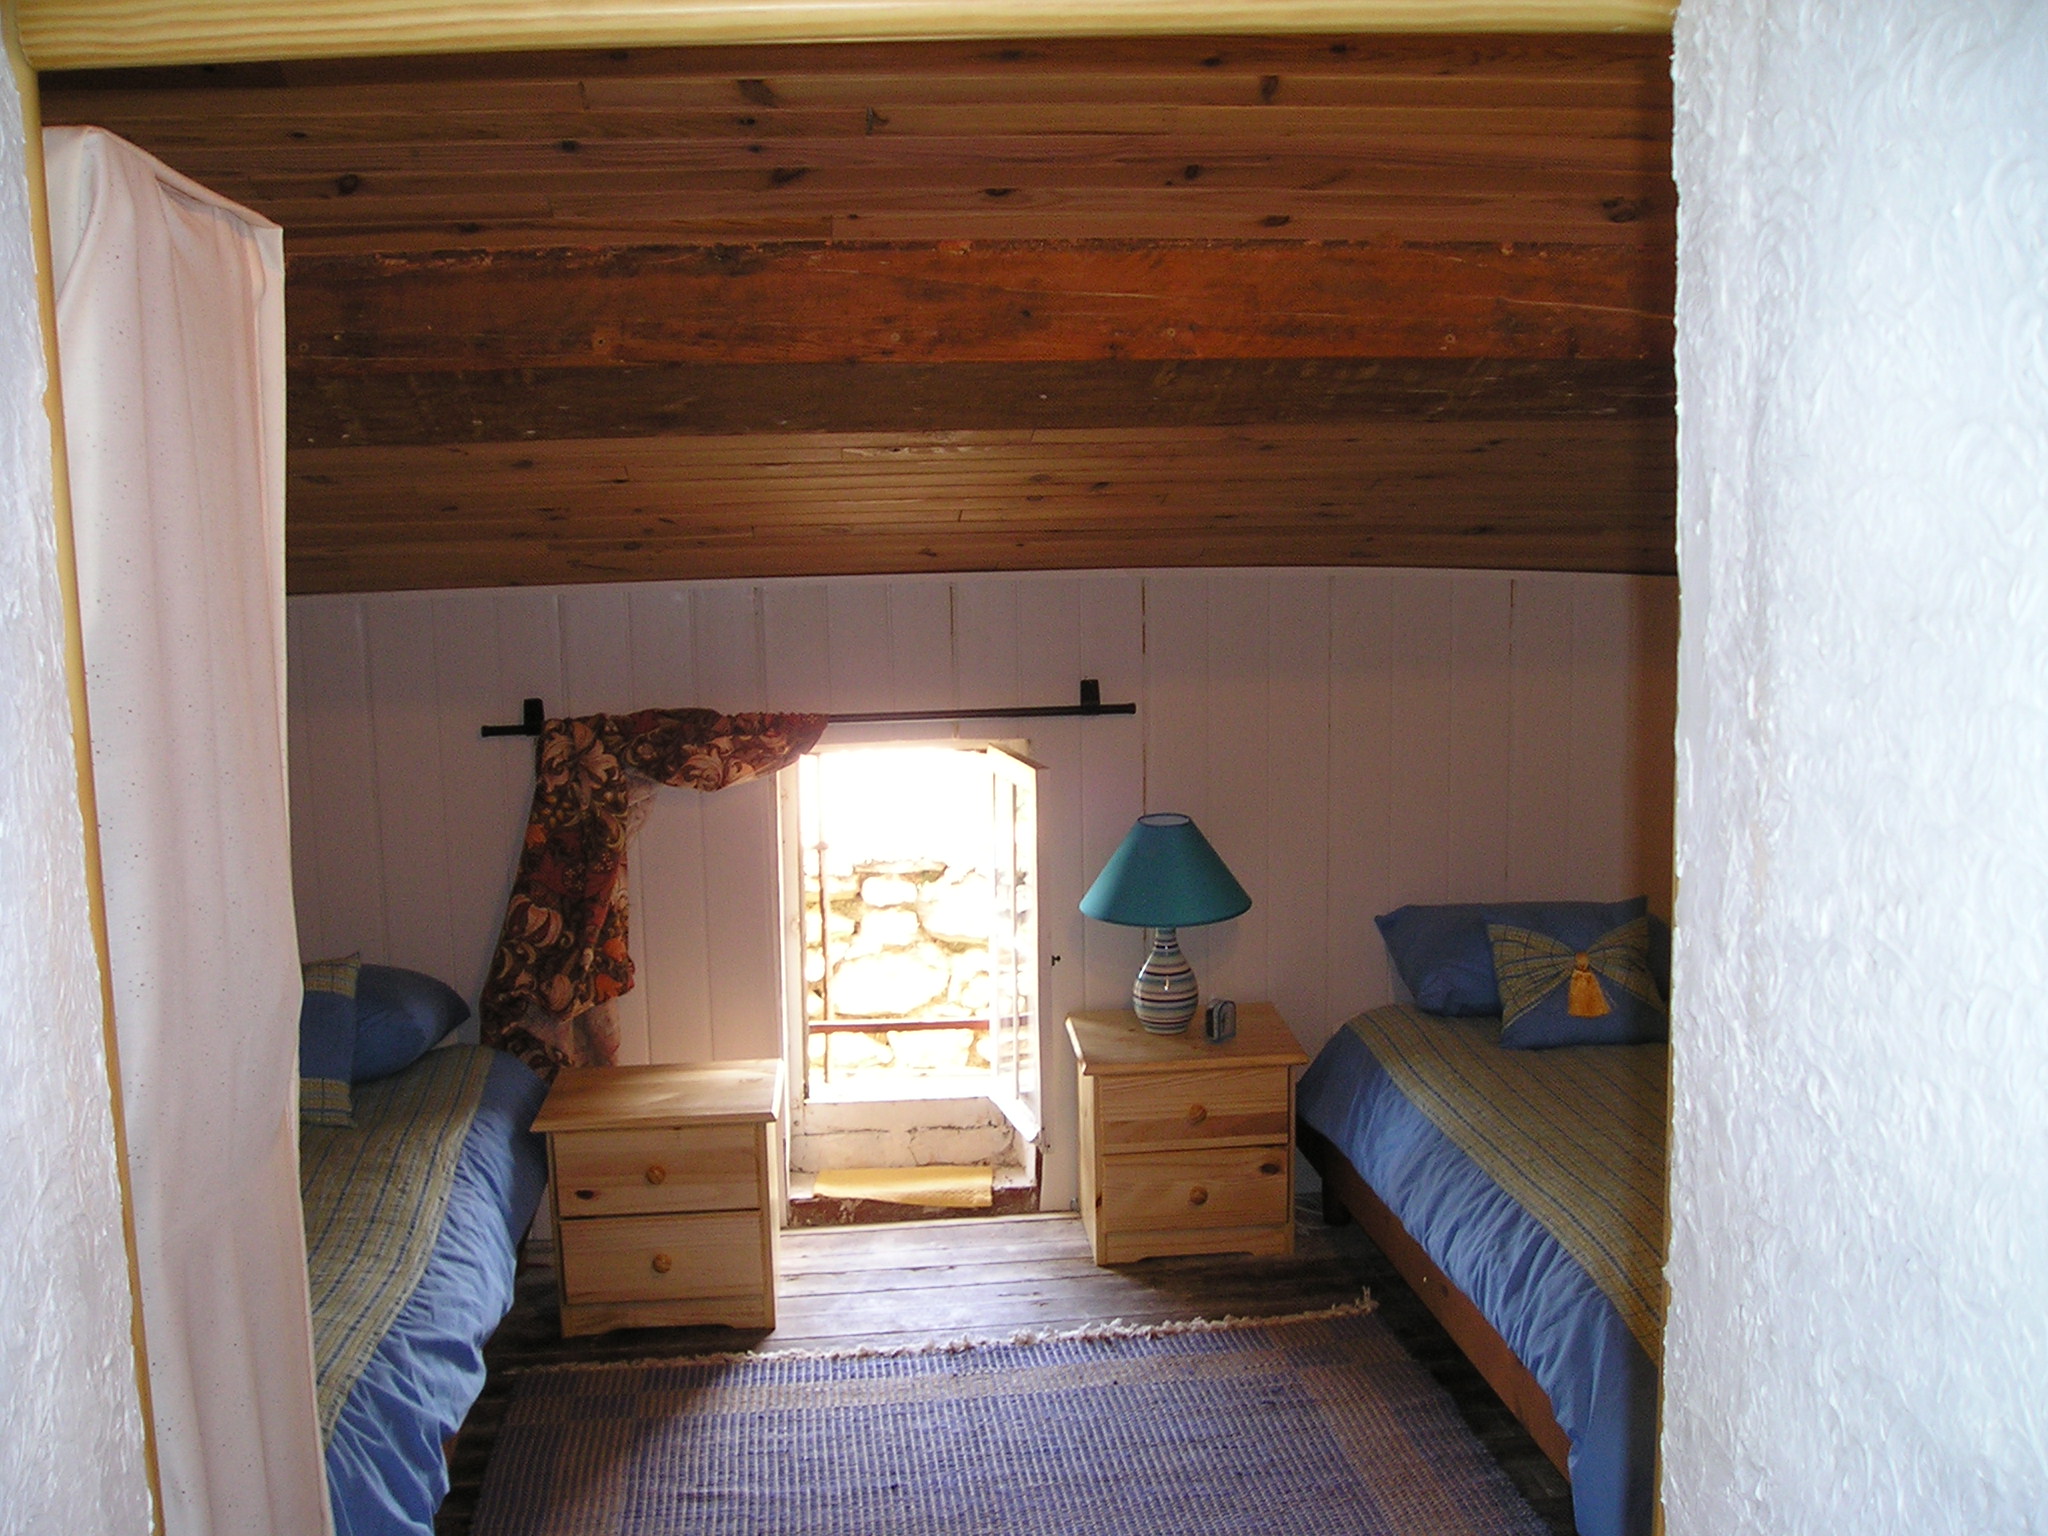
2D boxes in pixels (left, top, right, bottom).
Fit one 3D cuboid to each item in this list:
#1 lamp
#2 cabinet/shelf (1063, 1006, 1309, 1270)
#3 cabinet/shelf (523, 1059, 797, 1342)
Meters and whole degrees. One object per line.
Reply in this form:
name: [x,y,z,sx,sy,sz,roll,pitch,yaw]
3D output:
lamp: [0.319,0.334,4.230,0.512,0.497,0.484,-6,12,-18]
cabinet/shelf: [0.349,0.813,4.212,0.737,0.614,0.499,-2,6,-8]
cabinet/shelf: [-0.722,0.881,3.839,0.612,0.499,0.508,-1,5,-6]
